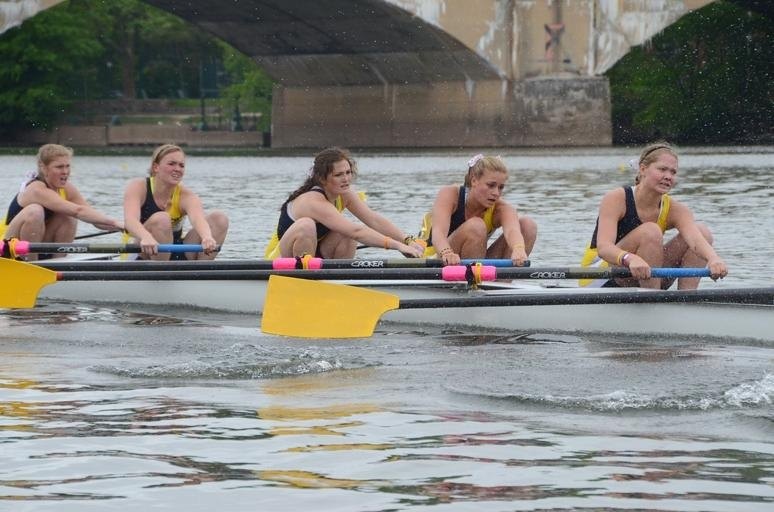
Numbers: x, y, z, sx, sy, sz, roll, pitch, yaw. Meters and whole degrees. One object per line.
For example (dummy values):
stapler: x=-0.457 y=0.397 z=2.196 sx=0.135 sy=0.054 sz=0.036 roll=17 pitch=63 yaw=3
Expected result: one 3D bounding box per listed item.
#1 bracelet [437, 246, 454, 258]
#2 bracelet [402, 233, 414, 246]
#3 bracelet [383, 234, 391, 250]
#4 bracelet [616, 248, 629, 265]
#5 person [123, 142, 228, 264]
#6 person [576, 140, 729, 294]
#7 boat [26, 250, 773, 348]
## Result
bracelet: x=0.658 y=-0.048 z=16.127 sx=0.170 sy=0.066 sz=0.190 roll=-3 pitch=0 yaw=0
bracelet: x=0.261 y=-0.193 z=16.593 sx=0.145 sy=0.094 sz=0.293 roll=-1 pitch=4 yaw=-1
bracelet: x=0.005 y=-0.159 z=16.425 sx=0.051 sy=0.129 sz=0.106 roll=-2 pitch=5 yaw=-10
bracelet: x=2.610 y=0.029 z=15.779 sx=0.070 sy=0.153 sz=0.139 roll=-4 pitch=6 yaw=-32
person: x=-2.484 y=-0.639 z=16.944 sx=1.173 sy=1.372 sz=0.843 roll=-1 pitch=5 yaw=-9
person: x=2.932 y=-0.443 z=15.967 sx=1.433 sy=1.625 sz=0.846 roll=0 pitch=5 yaw=8
boat: x=0.252 y=0.461 z=16.285 sx=7.868 sy=0.652 sz=2.458 roll=1 pitch=4 yaw=10
